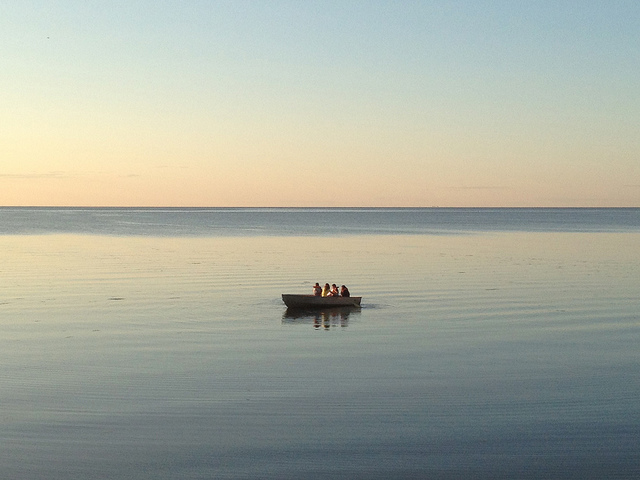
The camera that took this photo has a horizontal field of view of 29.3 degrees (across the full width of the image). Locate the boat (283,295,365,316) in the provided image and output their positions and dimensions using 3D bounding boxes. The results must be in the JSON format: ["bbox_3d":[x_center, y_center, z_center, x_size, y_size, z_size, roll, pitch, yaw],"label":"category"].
[{"bbox_3d":[0.039,2.792,54.736,3.401,0.793,1.816,-3,13,-14],"label":"boat"}]
